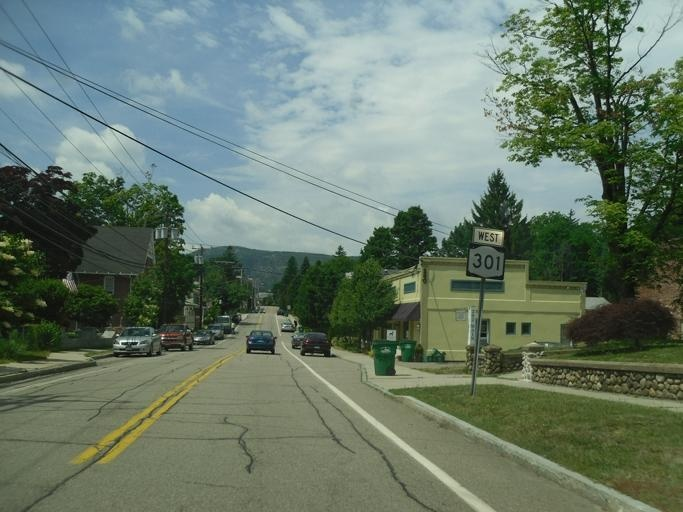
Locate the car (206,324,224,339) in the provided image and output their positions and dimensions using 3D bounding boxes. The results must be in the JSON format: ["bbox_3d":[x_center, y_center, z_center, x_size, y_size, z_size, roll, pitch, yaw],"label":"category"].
[{"bbox_3d":[-11.310,6.654,71.557,0.994,0.779,2.177,0,-14,-5],"label":"car"}]

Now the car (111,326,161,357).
[{"bbox_3d":[-10.525,4.498,41.335,1.806,1.536,2.664,0,2,13],"label":"car"}]

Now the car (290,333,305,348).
[{"bbox_3d":[-3.340,6.423,60.410,0.922,0.648,1.928,1,-1,-1],"label":"car"}]

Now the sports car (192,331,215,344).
[{"bbox_3d":[-10.770,6.360,61.995,1.089,0.810,2.484,1,-11,-7],"label":"sports car"}]

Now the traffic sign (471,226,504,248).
[{"bbox_3d":[3.989,-0.529,21.824,0.866,0.557,0.579,0,3,4],"label":"traffic sign"}]

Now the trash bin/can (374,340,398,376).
[{"bbox_3d":[1.617,3.941,30.821,1.328,1.465,1.159,1,-6,-5],"label":"trash bin/can"}]

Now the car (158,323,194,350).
[{"bbox_3d":[-10.223,5.158,49.225,1.749,1.594,3.354,0,2,-5],"label":"car"}]

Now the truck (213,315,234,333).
[{"bbox_3d":[-12.940,7.514,87.650,1.712,1.683,3.205,-1,-16,-5],"label":"truck"}]

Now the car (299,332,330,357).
[{"bbox_3d":[-1.486,5.149,45.353,1.561,1.333,2.046,0,2,1],"label":"car"}]

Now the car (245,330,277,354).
[{"bbox_3d":[-4.519,4.904,44.862,1.510,1.426,2.441,0,2,-4],"label":"car"}]

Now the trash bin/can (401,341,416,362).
[{"bbox_3d":[3.676,5.397,45.167,1.130,1.284,1.038,2,-9,-9],"label":"trash bin/can"}]
